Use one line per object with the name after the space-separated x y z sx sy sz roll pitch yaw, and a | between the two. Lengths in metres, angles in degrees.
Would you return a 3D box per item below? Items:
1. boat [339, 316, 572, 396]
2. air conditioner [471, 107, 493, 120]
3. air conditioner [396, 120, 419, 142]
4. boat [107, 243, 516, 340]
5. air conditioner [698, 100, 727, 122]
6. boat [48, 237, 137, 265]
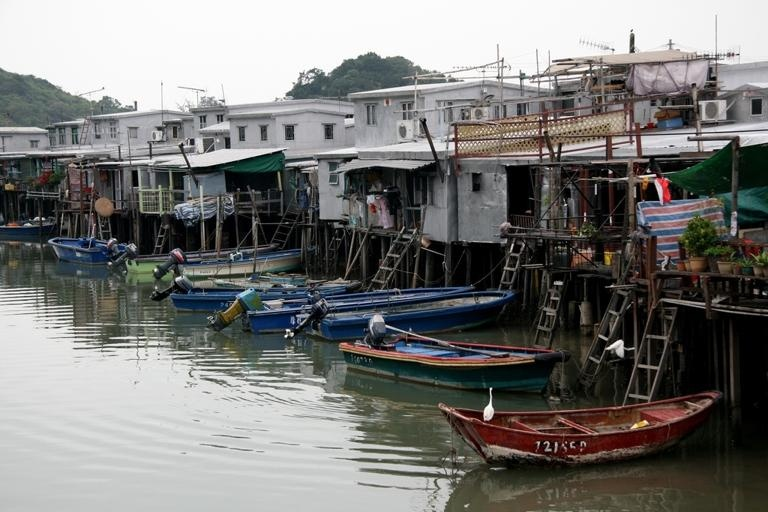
1.701 2.639 27.561 5.685 1.273 2.002 2 6 32 | boat
3.407 -4.995 39.548 0.901 0.610 0.855 1 7 17 | air conditioner
0.963 -4.647 41.424 0.474 0.792 1.203 -7 4 -36 | air conditioner
-1.060 1.624 32.047 9.443 1.334 3.012 -3 3 22 | boat
9.569 -4.252 32.706 0.855 0.652 0.526 -4 3 1 | air conditioner
-11.971 -0.195 46.486 1.686 0.925 4.593 -9 10 -37 | boat
